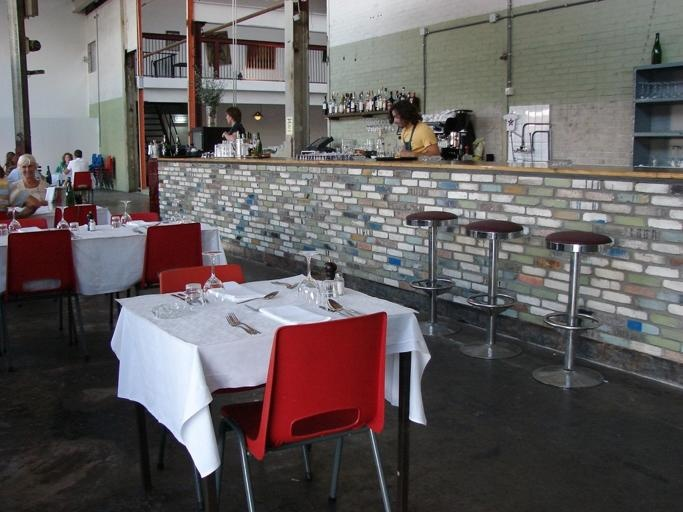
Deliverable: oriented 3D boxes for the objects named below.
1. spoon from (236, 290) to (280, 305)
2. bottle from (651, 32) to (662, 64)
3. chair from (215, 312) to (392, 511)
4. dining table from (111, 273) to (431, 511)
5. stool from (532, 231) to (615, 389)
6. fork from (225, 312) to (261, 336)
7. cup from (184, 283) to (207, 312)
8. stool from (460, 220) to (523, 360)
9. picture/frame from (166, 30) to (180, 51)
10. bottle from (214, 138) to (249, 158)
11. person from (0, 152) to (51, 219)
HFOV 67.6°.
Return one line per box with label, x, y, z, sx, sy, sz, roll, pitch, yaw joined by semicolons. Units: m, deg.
spoon;-0.391;0.205;2.481;0.219;0.034;0.049;-13;21;-14
bottle;3.671;-2.367;5.804;0.121;0.349;0.159;7;16;30
chair;-0.149;0.618;2.006;0.639;0.841;0.351;-6;14;-21
dining table;-0.286;0.392;2.269;1.149;0.765;1.097;-3;6;-29
stool;1.679;0.339;3.578;0.470;1.023;0.700;5;15;26
fork;-0.404;0.284;2.104;0.060;0.048;0.338;-13;16;-23
cup;-0.678;0.194;2.402;0.085;0.088;0.125;-1;3;-8
stool;1.260;0.229;4.113;0.470;1.031;0.728;2;14;15
picture/frame;-6.251;-8.098;19.135;0.572;0.743;1.008;-5;13;-16
bottle;-1.867;-1.745;8.326;0.274;0.342;0.907;-9;14;-41
person;-3.697;-0.771;6.000;0.700;0.811;0.378;3;6;-13
